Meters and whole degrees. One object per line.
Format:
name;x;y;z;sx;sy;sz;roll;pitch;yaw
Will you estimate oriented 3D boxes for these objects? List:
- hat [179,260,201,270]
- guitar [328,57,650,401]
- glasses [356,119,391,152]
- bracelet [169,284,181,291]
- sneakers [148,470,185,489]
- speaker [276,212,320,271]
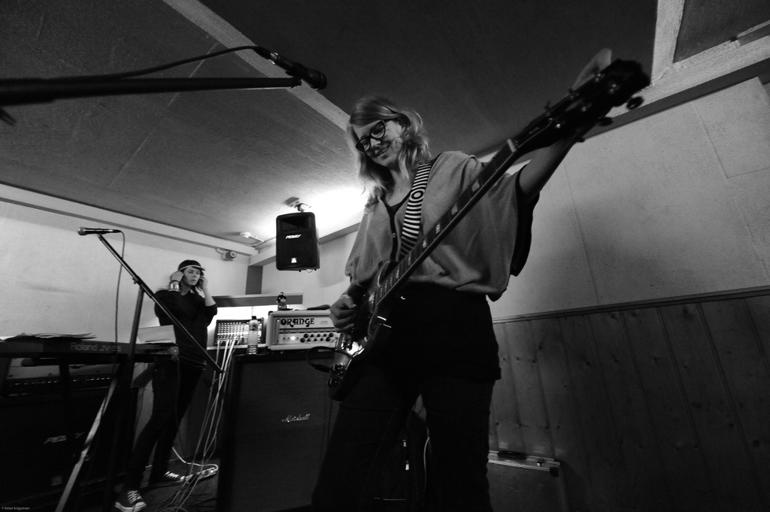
hat;-1.978;0.096;4.984;0.183;0.083;0.130;-14;-14;6
guitar;0.449;-0.058;2.600;1.850;1.605;0.298;-9;-12;32
glasses;-0.058;-0.751;3.072;0.177;0.056;0.181;-30;9;46
bracelet;-2.122;0.317;4.983;0.097;0.071;0.097;-8;-7;20
sneakers;-1.838;1.885;4.151;0.299;0.096;0.406;2;-12;-24
speaker;-0.904;-0.145;5.098;0.508;0.684;0.374;-4;-14;5
